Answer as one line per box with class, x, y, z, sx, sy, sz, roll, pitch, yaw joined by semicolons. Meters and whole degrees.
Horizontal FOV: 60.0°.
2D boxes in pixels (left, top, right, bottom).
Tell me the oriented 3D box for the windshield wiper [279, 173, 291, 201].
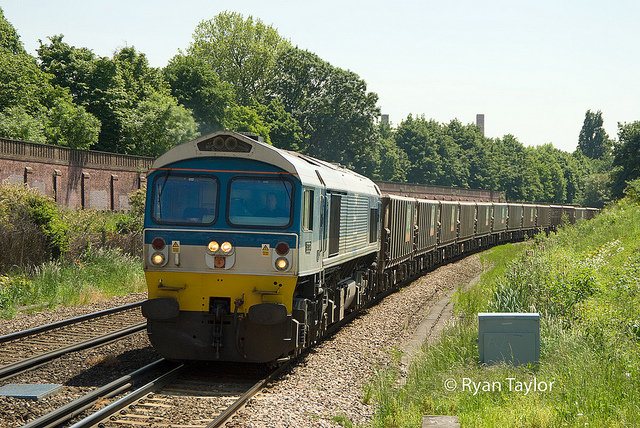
windshield wiper;-0.753;-0.582;11.825;0.059;0.584;0.057;-15;1;9
